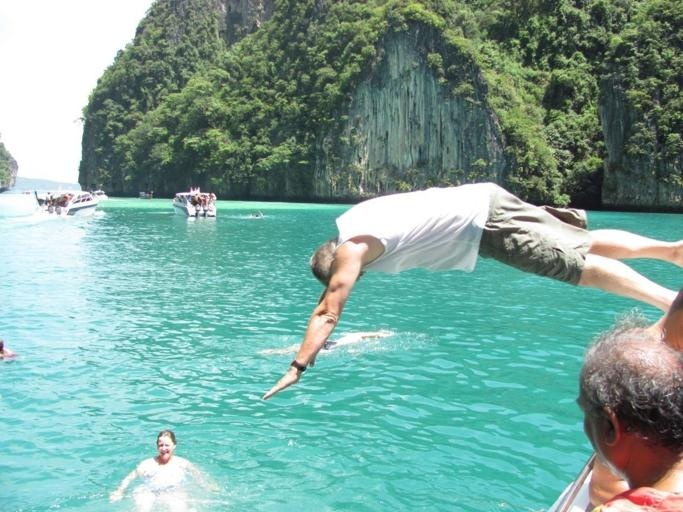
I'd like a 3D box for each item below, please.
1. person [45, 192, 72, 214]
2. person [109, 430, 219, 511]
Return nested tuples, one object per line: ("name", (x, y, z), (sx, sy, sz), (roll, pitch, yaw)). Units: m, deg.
("person", (-24.266, -4.371, 51.698), (1.486, 1.135, 2.571), (0, 22, 0))
("person", (-2.103, 2.411, 7.008), (0.674, 0.380, 0.921), (-5, 0, -7))
